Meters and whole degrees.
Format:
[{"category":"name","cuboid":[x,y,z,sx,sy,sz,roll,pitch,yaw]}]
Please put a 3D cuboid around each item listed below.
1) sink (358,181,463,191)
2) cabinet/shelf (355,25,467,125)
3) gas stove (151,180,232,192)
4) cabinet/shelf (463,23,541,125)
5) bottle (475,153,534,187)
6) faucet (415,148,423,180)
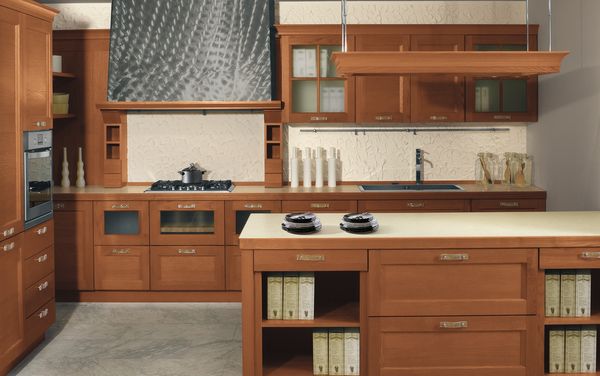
[{"category":"sink","cuboid":[1.308,-0.024,7.731,1.146,0.080,0.289,-1,3,1]},{"category":"cabinet/shelf","cuboid":[1.168,-1.266,7.024,1.673,0.924,0.489,0,1,0]},{"category":"gas stove","cuboid":[-1.251,-0.027,7.489,0.953,0.115,0.596,-1,3,-4]},{"category":"cabinet/shelf","cuboid":[2.315,-1.297,7.470,0.858,1.081,0.208,-2,3,6]},{"category":"bottle","cuboid":[2.415,-0.230,7.701,0.655,0.385,0.275,-1,3,14]},{"category":"faucet","cuboid":[1.437,-0.269,7.826,0.108,0.408,0.046,-3,3,-2]}]
